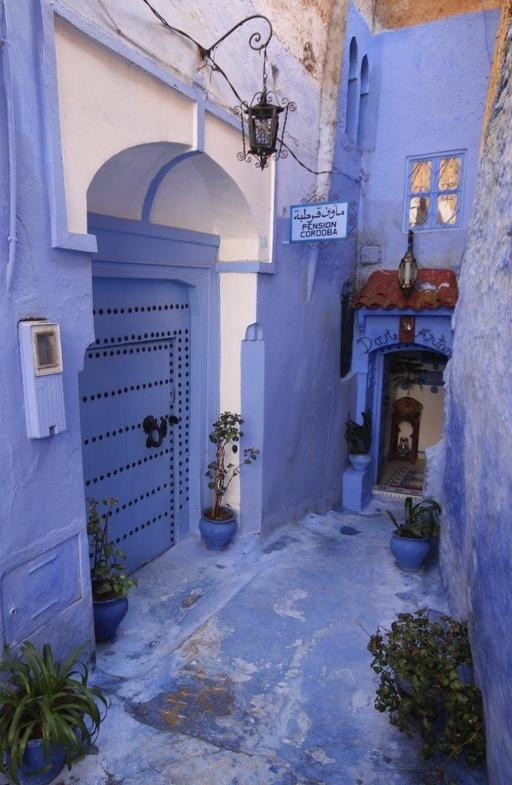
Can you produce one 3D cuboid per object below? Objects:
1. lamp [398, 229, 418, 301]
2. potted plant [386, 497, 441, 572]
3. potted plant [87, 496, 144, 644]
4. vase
[{"bbox_3d":[2.227,-1.842,7.677,0.271,1.037,0.569,5,4,16],"label":"lamp"},{"bbox_3d":[1.657,1.429,5.416,0.621,0.762,0.594,2,6,24],"label":"potted plant"},{"bbox_3d":[-1.101,1.224,3.902,0.311,1.028,0.965,2,5,-18],"label":"potted plant"},{"bbox_3d":[-0.320,0.915,5.428,0.576,1.394,0.677,5,4,16],"label":"vase"}]
